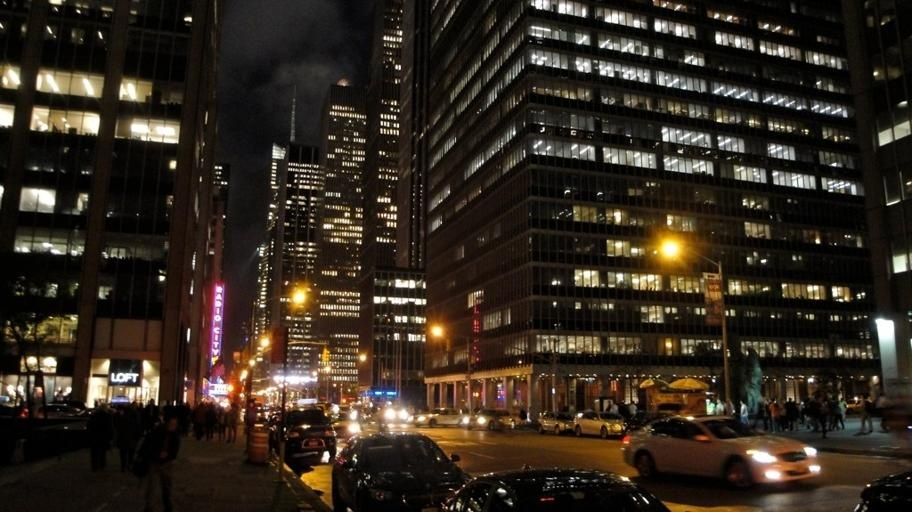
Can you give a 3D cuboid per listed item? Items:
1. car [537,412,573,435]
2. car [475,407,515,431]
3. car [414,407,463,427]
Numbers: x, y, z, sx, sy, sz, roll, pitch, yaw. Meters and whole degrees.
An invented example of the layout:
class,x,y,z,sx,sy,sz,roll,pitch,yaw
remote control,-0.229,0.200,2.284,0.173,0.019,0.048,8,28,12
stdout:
class,x,y,z,sx,sy,sz,roll,pitch,yaw
car,11.697,19.439,100.909,1.075,2.627,4.898,12,-21,-38
car,4.933,20.857,111.113,4.304,2.713,1.933,-4,-16,7
car,-2.362,21.144,114.258,6.331,1.861,2.659,4,-12,-5
